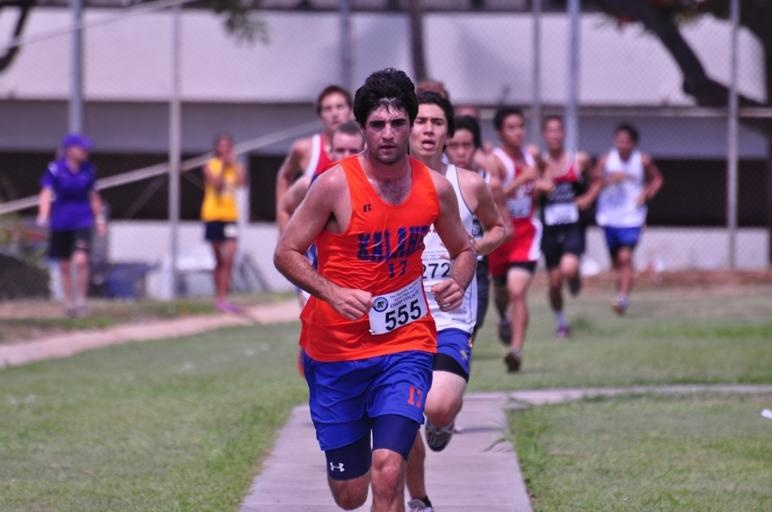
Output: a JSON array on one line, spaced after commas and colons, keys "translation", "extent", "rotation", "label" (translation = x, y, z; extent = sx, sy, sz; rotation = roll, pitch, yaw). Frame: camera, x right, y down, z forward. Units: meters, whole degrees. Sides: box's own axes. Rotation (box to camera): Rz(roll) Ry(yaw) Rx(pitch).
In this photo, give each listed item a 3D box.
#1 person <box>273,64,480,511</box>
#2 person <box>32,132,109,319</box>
[{"translation": [-0.085, 0.212, 6.740], "extent": [1.056, 2.530, 0.563], "rotation": [-1, 1, 2], "label": "person"}, {"translation": [-2.066, -0.155, 7.840], "extent": [0.428, 1.050, 0.429], "rotation": [-2, 2, -16], "label": "person"}]
